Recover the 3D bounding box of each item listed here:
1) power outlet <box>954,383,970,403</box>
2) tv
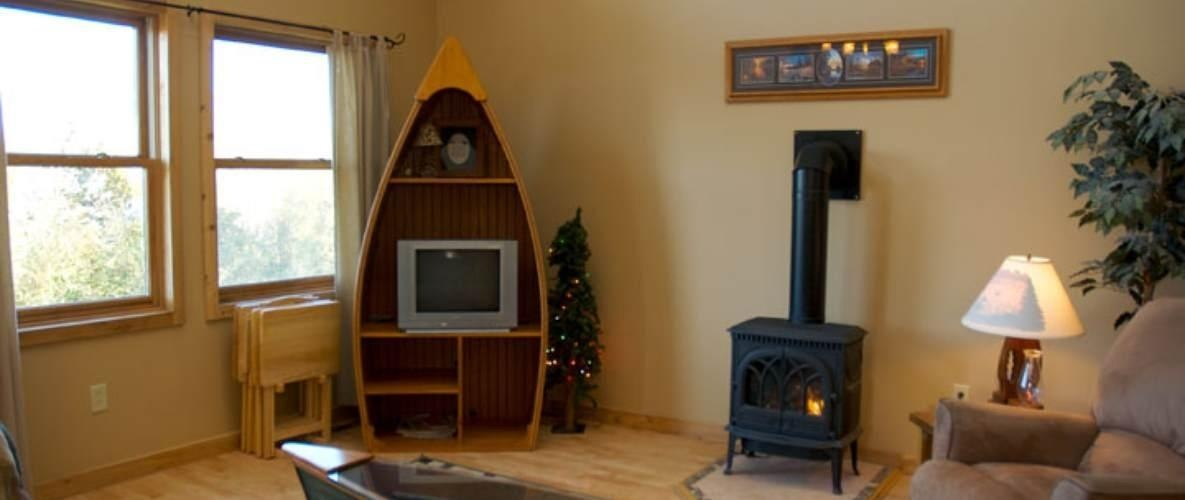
[{"bbox_3d":[3.384,1.311,7.446,0.161,0.149,0.022,7,-3,29],"label":"power outlet"},{"bbox_3d":[-1.317,0.350,7.891,1.153,0.891,0.123,2,7,-2],"label":"tv"}]
